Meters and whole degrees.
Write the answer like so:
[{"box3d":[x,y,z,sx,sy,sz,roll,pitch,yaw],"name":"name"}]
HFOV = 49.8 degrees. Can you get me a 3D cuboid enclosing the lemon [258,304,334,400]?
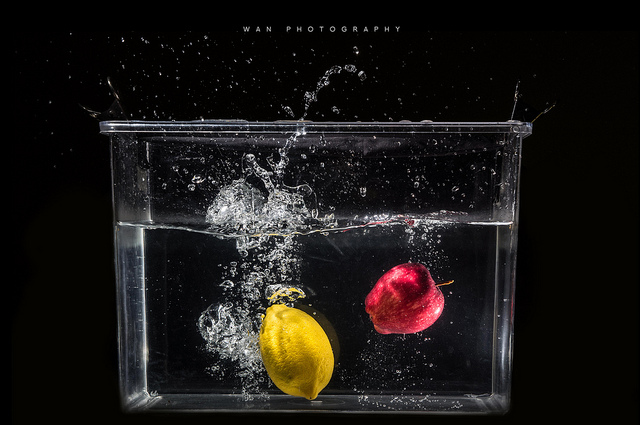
[{"box3d":[-0.066,0.370,1.844,0.209,0.072,0.212,17,78,8],"name":"lemon"}]
